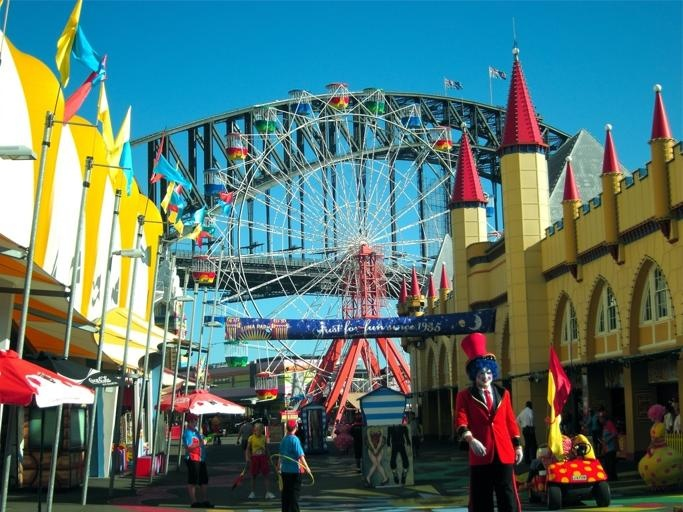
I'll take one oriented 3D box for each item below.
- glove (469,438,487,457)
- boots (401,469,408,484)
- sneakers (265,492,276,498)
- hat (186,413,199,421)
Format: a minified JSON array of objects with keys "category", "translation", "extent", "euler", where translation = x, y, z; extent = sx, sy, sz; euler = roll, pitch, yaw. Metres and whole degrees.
[{"category":"glove","translation":[2.078,2.945,14.631],"extent":[0.089,0.316,0.228],"euler":[-31,10,3]},{"category":"boots","translation":[1.624,5.751,24.750],"extent":[0.114,0.378,0.140],"euler":[2,-6,8]},{"category":"sneakers","translation":[-1.728,5.846,23.186],"extent":[0.107,0.134,0.284],"euler":[8,-13,-44]},{"category":"hat","translation":[-3.494,3.801,22.524],"extent":[0.205,0.215,0.153],"euler":[21,-29,-39]}]
